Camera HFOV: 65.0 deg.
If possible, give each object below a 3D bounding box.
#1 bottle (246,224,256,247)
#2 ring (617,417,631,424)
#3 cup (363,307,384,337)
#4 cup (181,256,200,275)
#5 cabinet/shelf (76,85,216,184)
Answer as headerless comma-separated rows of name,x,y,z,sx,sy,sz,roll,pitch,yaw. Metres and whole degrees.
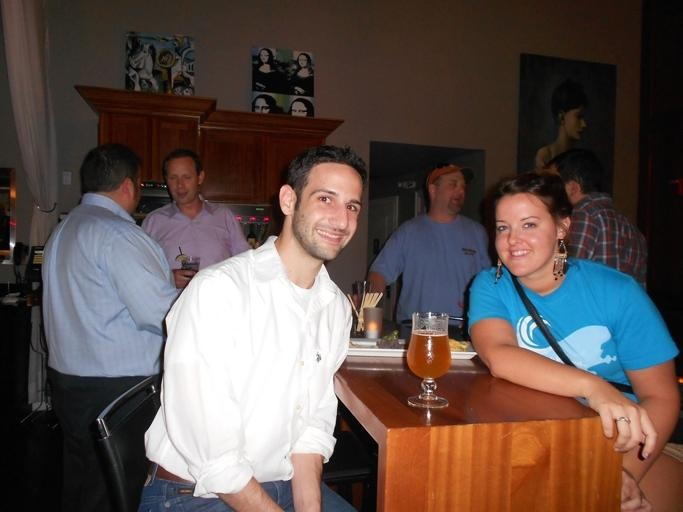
bottle,-0.863,-0.197,5.070,0.078,0.246,0.098,-1,-11,-4
ring,0.943,0.546,1.788,0.037,0.025,0.035,7,-23,3
cup,0.173,0.331,2.723,0.093,0.152,0.163,2,5,42
cup,-0.941,0.060,3.321,0.119,0.101,0.103,6,-4,-40
cabinet/shelf,-1.813,-0.964,5.092,1.167,1.093,0.361,-1,38,-21
